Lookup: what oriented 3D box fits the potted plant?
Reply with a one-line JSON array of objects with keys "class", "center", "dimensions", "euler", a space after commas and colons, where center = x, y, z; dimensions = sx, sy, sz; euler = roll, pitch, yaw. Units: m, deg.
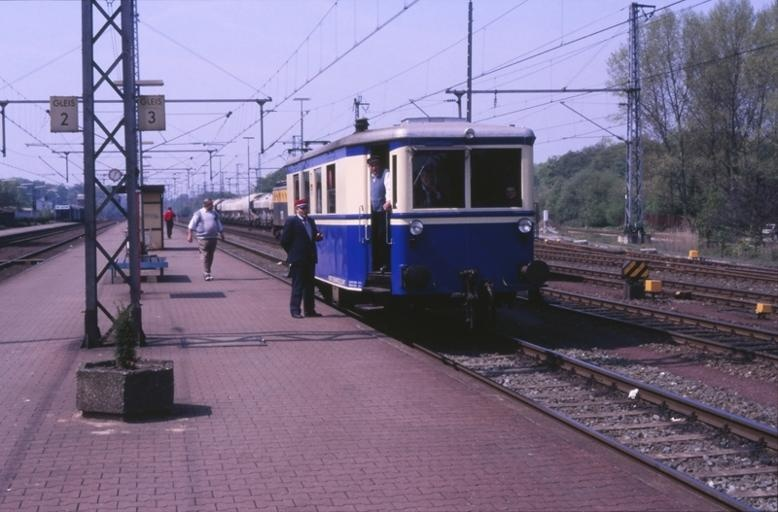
[{"class": "potted plant", "center": [-3.561, 1.444, 10.021], "dimensions": [1.291, 1.346, 1.210], "euler": [0, -2, 13]}]

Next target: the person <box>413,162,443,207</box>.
[{"class": "person", "center": [0.681, -1.314, 13.620], "dimensions": [0.564, 0.775, 0.271], "euler": [0, 3, -38]}]

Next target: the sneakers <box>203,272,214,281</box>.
[{"class": "sneakers", "center": [-5.600, 0.626, 22.789], "dimensions": [0.195, 0.237, 0.542], "euler": [0, -3, -17]}]
